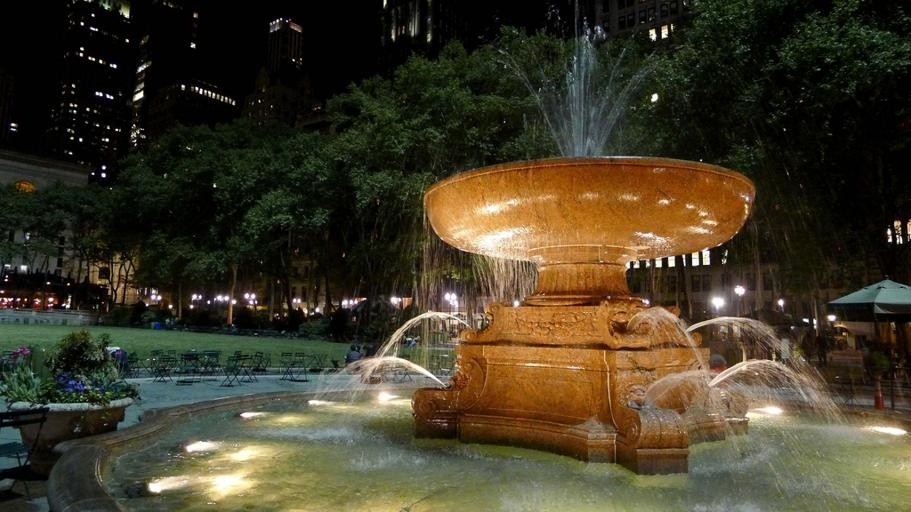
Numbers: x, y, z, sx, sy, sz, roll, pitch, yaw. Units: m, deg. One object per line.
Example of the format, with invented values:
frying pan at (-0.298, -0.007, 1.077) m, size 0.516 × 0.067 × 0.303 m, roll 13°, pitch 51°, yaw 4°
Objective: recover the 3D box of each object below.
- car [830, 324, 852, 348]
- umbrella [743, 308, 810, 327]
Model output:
car at (31.168, 6.471, 45.523) m, size 1.520 × 2.508 × 1.436 m, roll 8°, pitch -14°, yaw -34°
umbrella at (17.344, 3.352, 30.439) m, size 2.747 × 0.981 × 1.708 m, roll 2°, pitch -9°, yaw -20°
